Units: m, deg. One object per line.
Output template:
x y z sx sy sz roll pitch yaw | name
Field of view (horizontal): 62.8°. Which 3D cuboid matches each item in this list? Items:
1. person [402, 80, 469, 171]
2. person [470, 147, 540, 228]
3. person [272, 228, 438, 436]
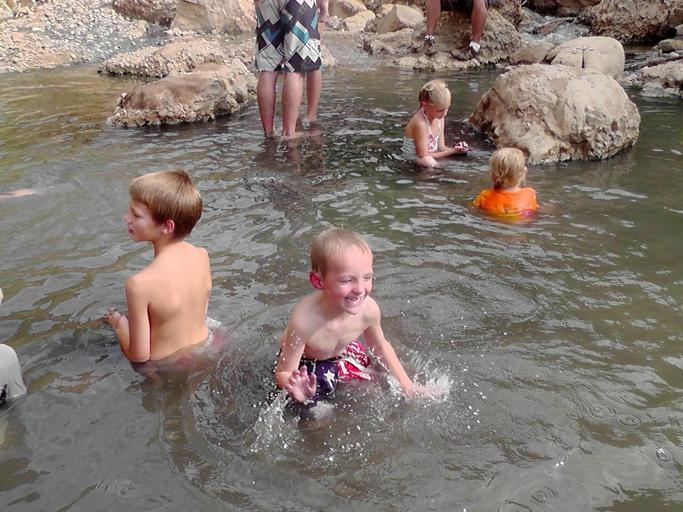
1.067 -1.582 6.674 0.681 0.914 0.539 -23 33 -40 | person
1.635 -0.697 5.600 0.726 0.691 0.473 -2 19 -4 | person
0.001 0.370 3.418 0.855 1.042 0.494 -7 25 -13 | person
